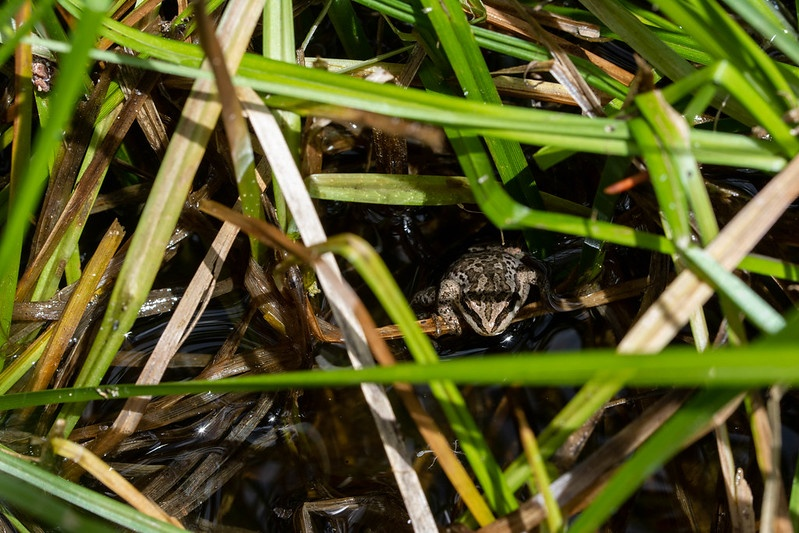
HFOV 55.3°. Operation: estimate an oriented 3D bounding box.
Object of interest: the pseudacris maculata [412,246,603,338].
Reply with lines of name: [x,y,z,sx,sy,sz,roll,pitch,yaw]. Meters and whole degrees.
pseudacris maculata: [0.419,0.135,3.865,0.559,0.203,0.504,-5,57,12]
